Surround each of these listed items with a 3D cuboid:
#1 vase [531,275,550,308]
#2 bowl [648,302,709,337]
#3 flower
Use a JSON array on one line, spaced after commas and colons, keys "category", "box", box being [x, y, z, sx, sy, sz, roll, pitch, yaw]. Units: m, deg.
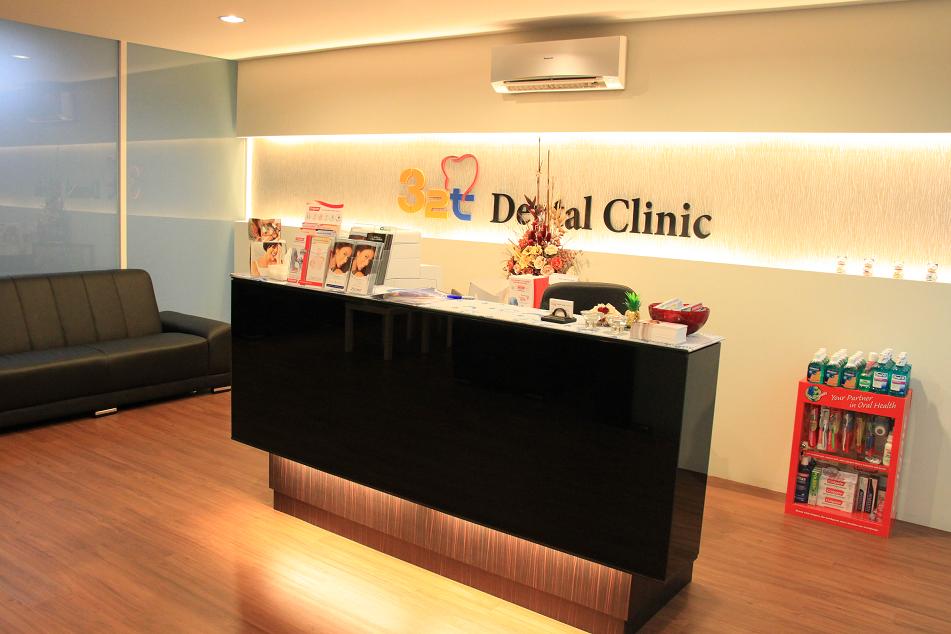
[{"category": "vase", "box": [0.559, -0.213, 5.705, 0.106, 0.260, 0.245, 6, 8, 15]}, {"category": "bowl", "box": [1.208, 0.008, 3.977, 0.432, 0.191, 0.230, -2, 10, -35]}, {"category": "flower", "box": [0.511, -0.665, 6.072, 0.827, 0.883, 0.649, -9, 17, -34]}]
